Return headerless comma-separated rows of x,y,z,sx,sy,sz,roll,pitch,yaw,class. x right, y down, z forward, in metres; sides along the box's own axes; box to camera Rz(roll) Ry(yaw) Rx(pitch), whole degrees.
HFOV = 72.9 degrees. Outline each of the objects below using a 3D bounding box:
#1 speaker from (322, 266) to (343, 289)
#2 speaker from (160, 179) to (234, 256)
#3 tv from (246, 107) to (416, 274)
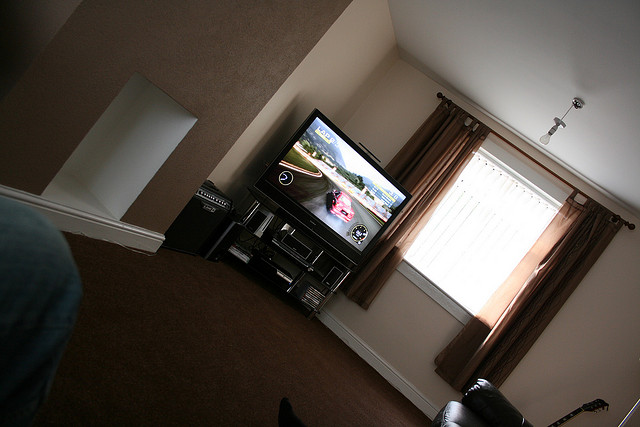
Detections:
0.111,0.633,4.388,0.108,0.199,0.120,36,8,-17,speaker
-1.088,-0.104,4.081,0.437,0.686,0.735,24,36,-26,speaker
0.069,-0.168,4.402,1.500,1.100,0.154,41,-3,-15,tv
